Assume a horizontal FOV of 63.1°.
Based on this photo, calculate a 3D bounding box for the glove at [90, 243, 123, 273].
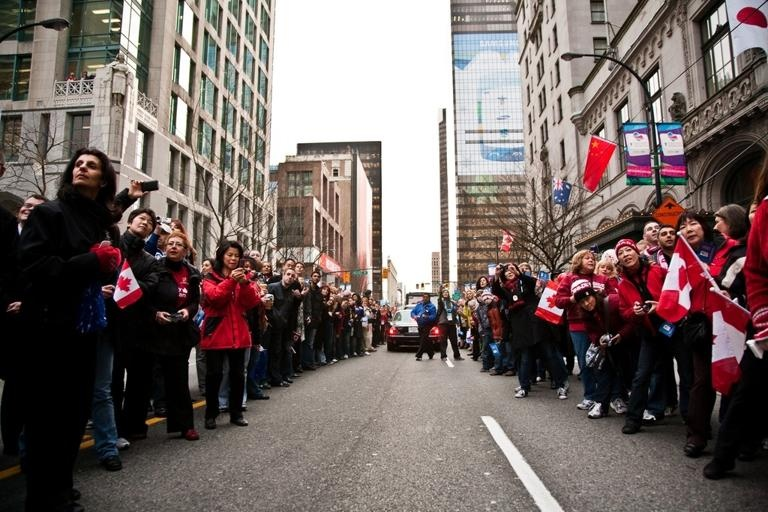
[{"bbox_3d":[-3.302,0.003,7.498,0.391,0.294,0.389,27,-2,-31],"label":"glove"}]

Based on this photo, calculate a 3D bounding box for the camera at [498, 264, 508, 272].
[{"bbox_3d":[2.581,0.254,13.625,0.170,0.129,0.133,-10,6,-28],"label":"camera"}]
